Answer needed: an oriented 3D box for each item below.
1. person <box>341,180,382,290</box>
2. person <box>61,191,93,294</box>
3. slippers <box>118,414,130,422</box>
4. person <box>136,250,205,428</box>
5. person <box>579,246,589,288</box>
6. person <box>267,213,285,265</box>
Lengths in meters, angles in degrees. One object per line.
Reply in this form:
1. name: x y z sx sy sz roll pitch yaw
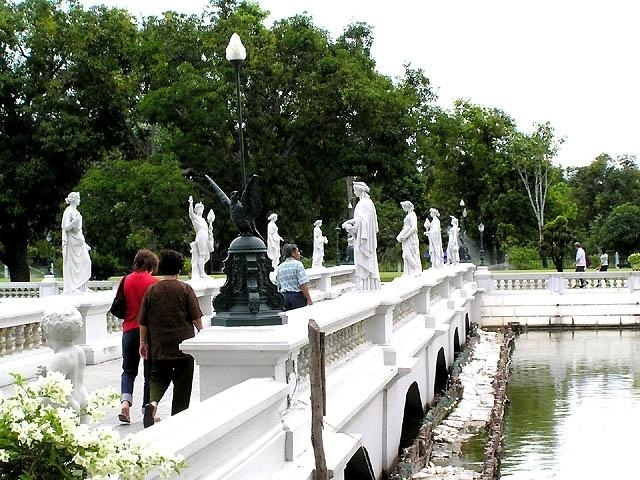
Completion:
1. person: 0.680 -0.098 10.817 0.607 1.609 1.139 5 3 1
2. person: -4.737 0.092 13.521 0.536 1.794 0.712 3 4 -27
3. slippers: -2.051 1.863 7.287 0.081 0.163 0.058 5 40 6
4. person: -1.514 1.005 7.024 0.612 1.768 0.810 4 3 -20
5. person: 11.055 1.096 29.227 0.464 1.395 3.027 6 3 20
6. person: -1.597 -0.120 25.367 0.774 2.520 0.977 2 46 1
